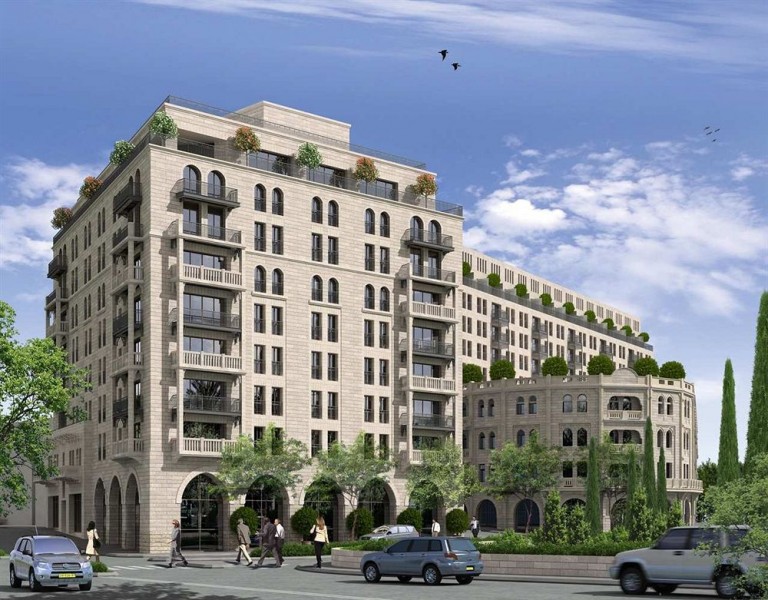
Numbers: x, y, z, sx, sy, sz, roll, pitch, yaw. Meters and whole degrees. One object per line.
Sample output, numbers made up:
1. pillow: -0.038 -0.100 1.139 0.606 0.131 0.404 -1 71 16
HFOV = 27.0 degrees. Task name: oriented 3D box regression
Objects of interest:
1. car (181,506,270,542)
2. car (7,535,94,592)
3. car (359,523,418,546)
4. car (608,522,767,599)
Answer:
1. car: -11.125 15.512 110.509 4.641 2.021 2.681 -4 -10 26
2. car: -16.882 13.219 80.265 4.424 2.864 2.209 -11 -17 36
3. car: 0.274 15.093 104.079 3.717 1.331 1.657 5 -11 -19
4. car: 14.632 12.213 75.710 6.959 2.887 3.412 -4 -14 34
